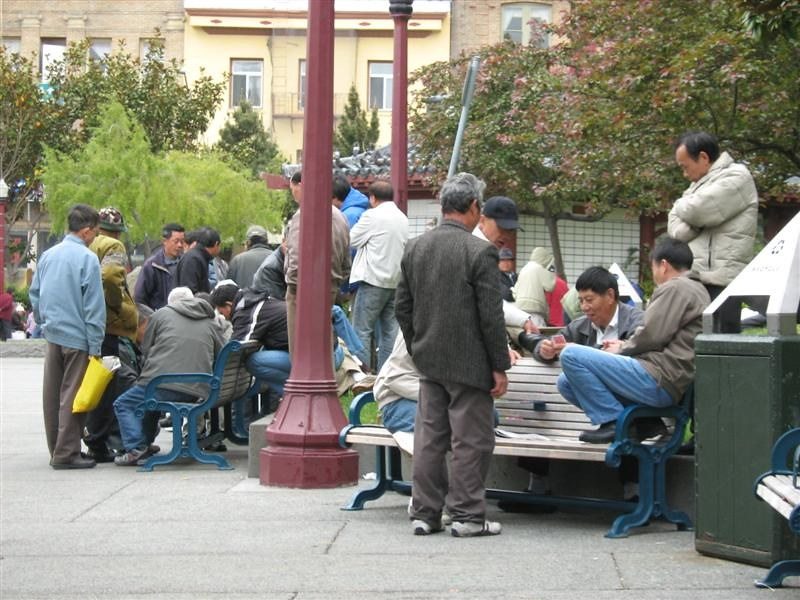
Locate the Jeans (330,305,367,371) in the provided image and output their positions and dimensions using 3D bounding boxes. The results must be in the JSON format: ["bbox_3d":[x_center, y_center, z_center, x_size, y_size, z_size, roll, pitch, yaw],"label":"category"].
[{"bbox_3d":[-0.590,0.354,15.108,0.195,0.605,0.416,-26,30,20],"label":"Jeans"}]

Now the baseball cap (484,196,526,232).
[{"bbox_3d":[0.932,-0.772,11.766,0.337,0.178,0.245,30,22,24],"label":"baseball cap"}]

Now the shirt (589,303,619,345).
[{"bbox_3d":[1.820,0.217,11.821,0.236,0.321,0.234,-5,-8,29],"label":"shirt"}]

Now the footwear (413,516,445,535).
[{"bbox_3d":[0.226,1.907,11.029,0.099,0.117,0.281,-1,-8,43],"label":"footwear"}]

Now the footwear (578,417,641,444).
[{"bbox_3d":[1.658,1.105,10.910,0.349,0.241,0.130,-2,-6,11],"label":"footwear"}]

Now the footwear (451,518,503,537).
[{"bbox_3d":[0.615,1.904,10.968,0.433,0.181,0.153,-2,3,-25],"label":"footwear"}]

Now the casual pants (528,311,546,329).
[{"bbox_3d":[1.517,0.234,14.968,0.128,0.218,0.170,-8,-4,40],"label":"casual pants"}]

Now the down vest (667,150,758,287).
[{"bbox_3d":[2.893,-0.737,12.410,0.617,1.341,0.691,1,6,-14],"label":"down vest"}]

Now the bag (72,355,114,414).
[{"bbox_3d":[-3.204,0.866,13.732,0.247,0.648,0.420,15,-14,25],"label":"bag"}]

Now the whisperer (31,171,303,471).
[{"bbox_3d":[-3.348,0.241,14.319,1.188,2.965,1.281,1,1,38],"label":"whisperer"}]

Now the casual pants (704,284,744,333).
[{"bbox_3d":[2.568,0.123,10.541,0.248,0.354,0.247,-8,17,-12],"label":"casual pants"}]

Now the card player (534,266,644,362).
[{"bbox_3d":[1.755,0.136,11.824,0.770,1.006,0.716,8,6,-40],"label":"card player"}]
